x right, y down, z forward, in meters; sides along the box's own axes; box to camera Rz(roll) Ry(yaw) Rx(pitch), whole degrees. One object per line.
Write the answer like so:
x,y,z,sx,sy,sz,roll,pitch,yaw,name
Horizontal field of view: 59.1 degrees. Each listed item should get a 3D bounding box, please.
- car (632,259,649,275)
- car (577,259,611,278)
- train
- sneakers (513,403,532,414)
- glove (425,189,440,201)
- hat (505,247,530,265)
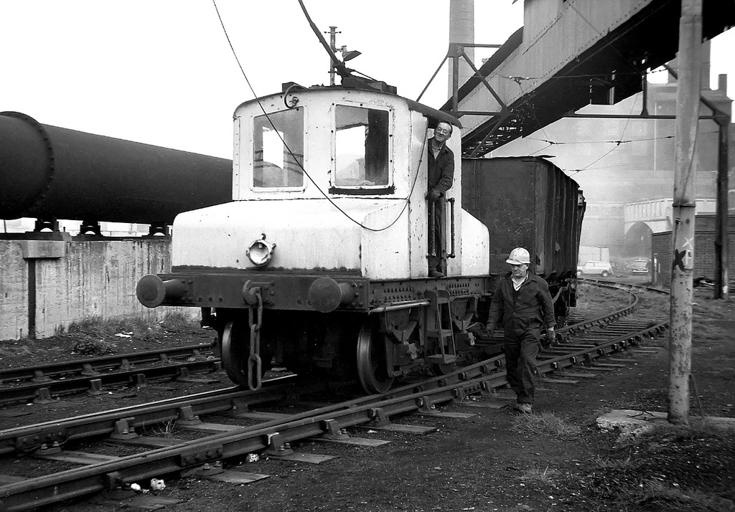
27.380,1.079,64.794,1.698,1.637,1.761,0,1,-19,car
22.237,1.240,63.265,3.173,1.418,1.639,2,0,12,car
-0.435,-0.570,10.320,5.611,5.695,2.782,0,3,-30,train
2.452,2.394,10.207,0.199,0.107,0.125,0,0,41,sneakers
1.079,-1.030,10.747,0.196,0.230,0.152,1,15,44,glove
2.524,0.023,10.635,0.284,0.212,0.380,6,3,36,hat
